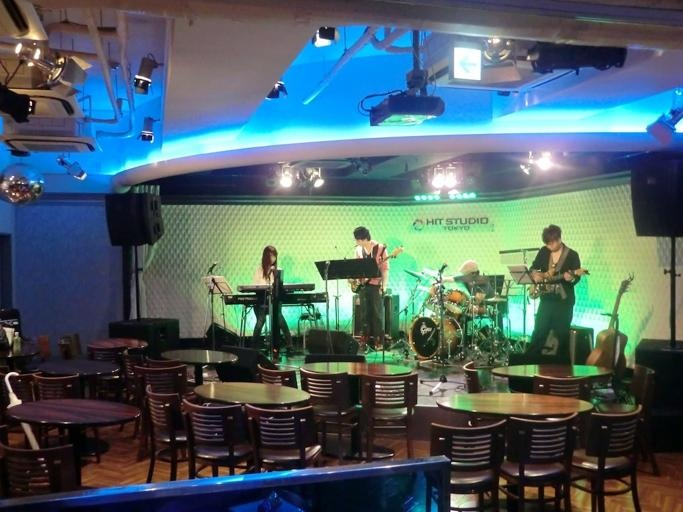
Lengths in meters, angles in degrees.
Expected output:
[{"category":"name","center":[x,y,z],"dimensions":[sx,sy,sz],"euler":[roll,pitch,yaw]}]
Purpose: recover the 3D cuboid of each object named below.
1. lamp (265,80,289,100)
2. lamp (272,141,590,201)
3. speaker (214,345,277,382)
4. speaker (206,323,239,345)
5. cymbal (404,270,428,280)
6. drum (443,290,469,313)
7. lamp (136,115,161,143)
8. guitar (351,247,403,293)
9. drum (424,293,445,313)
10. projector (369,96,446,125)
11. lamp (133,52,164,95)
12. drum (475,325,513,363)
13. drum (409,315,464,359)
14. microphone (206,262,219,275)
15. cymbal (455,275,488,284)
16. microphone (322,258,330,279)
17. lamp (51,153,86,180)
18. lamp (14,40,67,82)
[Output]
[{"category":"lamp","center":[-0.886,-2.329,7.946],"dimensions":[0.291,0.324,0.757],"euler":[-3,2,-5]},{"category":"lamp","center":[1.662,-1.558,11.583],"dimensions":[5.780,0.719,2.671],"euler":[-2,2,17]},{"category":"speaker","center":[-1.299,1.492,7.785],"dimensions":[0.677,0.459,0.512],"euler":[-3,-2,38]},{"category":"speaker","center":[-2.384,1.625,11.555],"dimensions":[0.554,0.286,0.550],"euler":[1,-9,3]},{"category":"cymbal","center":[1.323,0.389,10.066],"dimensions":[0.301,0.072,0.298],"euler":[25,-5,-10]},{"category":"drum","center":[1.969,0.828,9.915],"dimensions":[0.388,0.358,0.384],"euler":[26,-34,-2]},{"category":"lamp","center":[-3.006,-2.004,9.073],"dimensions":[0.267,0.424,0.807],"euler":[-4,2,-17]},{"category":"guitar","center":[0.703,0.157,11.043],"dimensions":[1.256,0.617,0.180],"euler":[-19,25,-10]},{"category":"drum","center":[1.614,0.839,9.938],"dimensions":[0.318,0.299,0.320],"euler":[7,-8,10]},{"category":"projector","center":[0.715,-1.658,6.440],"dimensions":[0.542,0.293,0.743],"euler":[-4,2,-20]},{"category":"lamp","center":[-2.422,-2.250,7.103],"dimensions":[0.230,0.334,0.360],"euler":[-4,2,-14]},{"category":"drum","center":[2.704,1.587,10.275],"dimensions":[0.515,0.285,0.708],"euler":[-6,18,6]},{"category":"drum","center":[1.655,1.342,9.914],"dimensions":[0.691,0.863,1.043],"euler":[7,-10,-44]},{"category":"microphone","center":[-2.610,0.249,11.610],"dimensions":[0.138,0.137,0.460],"euler":[15,-21,-15]},{"category":"cymbal","center":[2.065,0.371,9.236],"dimensions":[0.542,0.132,0.184],"euler":[-2,2,20]},{"category":"microphone","center":[-0.223,0.218,8.713],"dimensions":[0.086,0.269,0.099],"euler":[7,3,39]},{"category":"lamp","center":[-4.975,-1.633,10.722],"dimensions":[0.511,0.364,1.724],"euler":[-4,2,-26]},{"category":"lamp","center":[-2.883,-1.906,5.620],"dimensions":[0.308,0.269,0.627],"euler":[-3,2,-4]}]
